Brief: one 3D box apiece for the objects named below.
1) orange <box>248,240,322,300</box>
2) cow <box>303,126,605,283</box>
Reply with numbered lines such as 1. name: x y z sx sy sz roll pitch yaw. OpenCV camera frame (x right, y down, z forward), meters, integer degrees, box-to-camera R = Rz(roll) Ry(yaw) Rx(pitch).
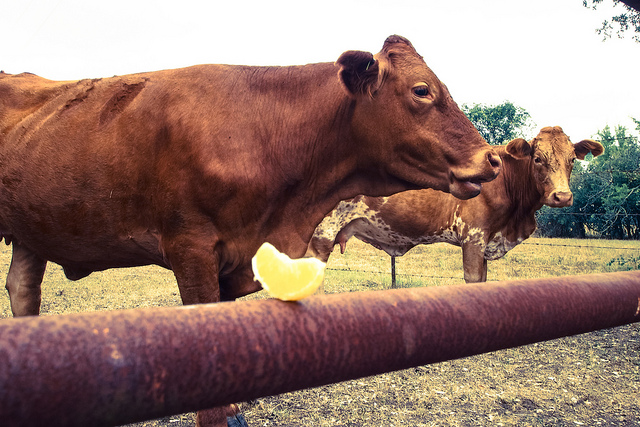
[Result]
1. orange: -0.180 0.272 2.940 0.345 0.233 0.279 2 4 13
2. cow: 1.536 0.159 8.524 3.617 2.125 1.213 -4 -5 8
